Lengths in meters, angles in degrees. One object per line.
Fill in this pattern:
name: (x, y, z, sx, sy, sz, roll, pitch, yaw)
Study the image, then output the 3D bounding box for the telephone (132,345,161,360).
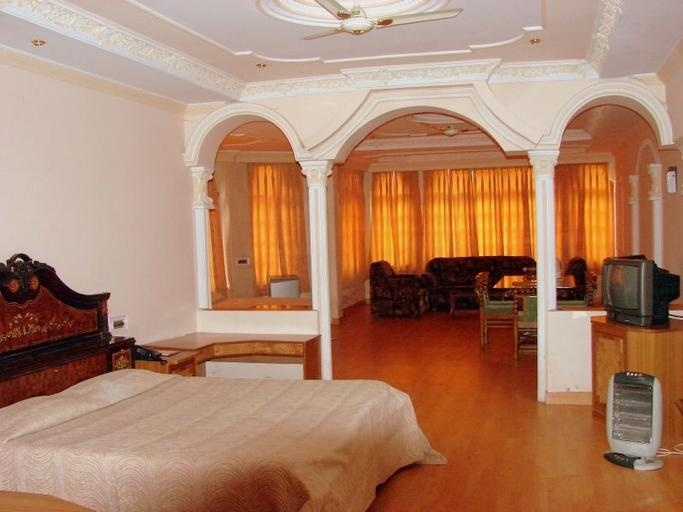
telephone: (-1.994, 0.999, 5.257, 0.222, 0.077, 0.161, 6, 2, 1)

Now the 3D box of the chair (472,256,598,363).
chair: (3.105, 0.811, 8.600, 1.612, 1.311, 2.086, 1, 7, 19)

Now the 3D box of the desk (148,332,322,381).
desk: (-1.284, 1.239, 5.932, 1.797, 0.585, 1.107, 2, 2, -21)

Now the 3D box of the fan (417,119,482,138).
fan: (1.893, -2.269, 9.217, 0.785, 0.204, 1.933, 8, 12, 28)

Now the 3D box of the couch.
couch: (2.932, 0.765, 12.148, 1.139, 1.583, 3.400, 7, -5, -22)

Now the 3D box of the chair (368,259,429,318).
chair: (1.619, 0.780, 12.089, 1.477, 1.296, 1.595, -6, -10, 23)
